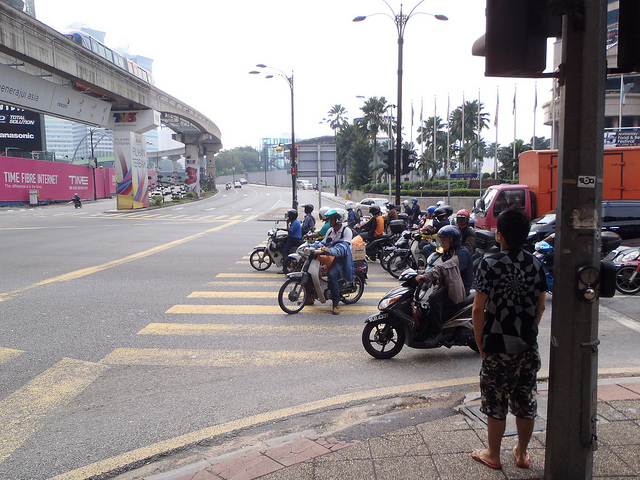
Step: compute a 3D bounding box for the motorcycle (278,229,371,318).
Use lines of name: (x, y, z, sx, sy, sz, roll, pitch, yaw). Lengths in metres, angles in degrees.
motorcycle: (0.152, 0.614, 10.471, 1.991, 1.440, 0.800, -4, 10, -35)

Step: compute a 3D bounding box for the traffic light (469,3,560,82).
traffic light: (1.658, -1.667, 4.524, 0.525, 0.636, 0.290, -2, 9, -4)

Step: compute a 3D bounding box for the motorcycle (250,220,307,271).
motorcycle: (-0.899, 0.160, 14.228, 1.869, 1.280, 0.908, -3, 9, -13)

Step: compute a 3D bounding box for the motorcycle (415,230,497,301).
motorcycle: (3.286, 0.490, 13.143, 2.195, 1.575, 1.023, 0, 12, 32)

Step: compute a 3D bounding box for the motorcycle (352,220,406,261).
motorcycle: (1.558, -0.001, 15.465, 1.784, 1.236, 0.877, -6, 10, 2)

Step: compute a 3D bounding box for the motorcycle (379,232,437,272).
motorcycle: (2.266, 0.310, 14.288, 1.351, 0.939, 0.752, 1, 6, -9)

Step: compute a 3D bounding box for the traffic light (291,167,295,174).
traffic light: (-1.635, -4.323, 33.710, 0.143, 0.377, 0.314, -3, 9, -10)

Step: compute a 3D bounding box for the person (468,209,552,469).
person: (1.717, 0.901, 4.996, 0.644, 2.339, 0.413, 2, 9, 21)

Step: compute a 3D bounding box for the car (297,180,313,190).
car: (-2.691, -9.309, 91.234, 1.486, 1.290, 2.467, -3, 5, -21)

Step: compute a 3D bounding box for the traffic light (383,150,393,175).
traffic light: (2.665, -3.074, 21.391, 0.352, 0.941, 1.149, 0, 9, 5)

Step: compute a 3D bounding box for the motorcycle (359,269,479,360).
motorcycle: (1.657, 1.055, 7.909, 1.942, 1.297, 0.759, 1, -3, 4)

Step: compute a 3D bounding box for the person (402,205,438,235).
person: (2.761, -0.481, 14.739, 1.030, 0.695, 0.657, 8, 19, 3)

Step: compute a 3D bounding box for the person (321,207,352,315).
person: (0.329, 0.396, 10.230, 0.560, 1.915, 0.798, -1, 9, 2)

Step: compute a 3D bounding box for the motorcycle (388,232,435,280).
motorcycle: (2.325, 0.431, 13.563, 1.584, 1.123, 0.892, 1, 4, -4)

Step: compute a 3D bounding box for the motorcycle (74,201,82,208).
motorcycle: (-21.139, -3.180, 47.658, 0.438, 0.541, 0.801, -5, 14, -31)

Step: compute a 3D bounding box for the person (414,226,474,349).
person: (1.770, 0.651, 7.745, 0.613, 1.731, 0.704, 6, 11, 38)
